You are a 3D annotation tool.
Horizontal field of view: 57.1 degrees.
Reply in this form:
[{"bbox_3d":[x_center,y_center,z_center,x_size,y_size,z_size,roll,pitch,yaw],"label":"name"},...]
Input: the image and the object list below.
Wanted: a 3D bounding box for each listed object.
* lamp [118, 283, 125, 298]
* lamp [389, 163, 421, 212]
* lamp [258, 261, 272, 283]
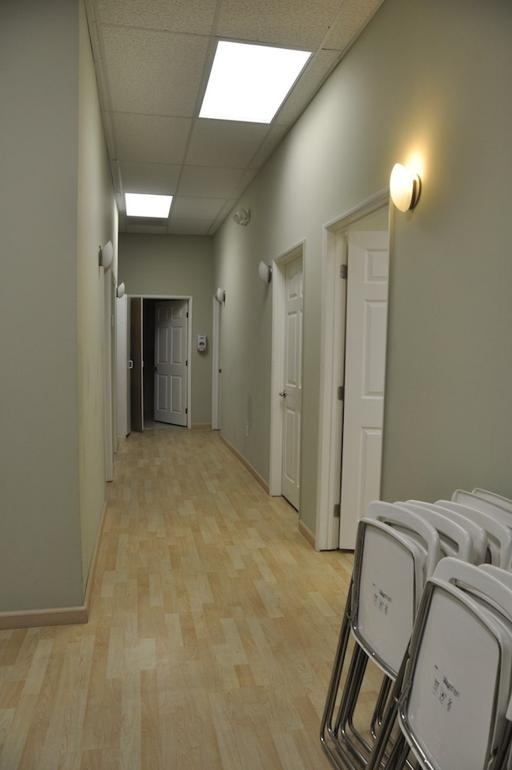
[{"bbox_3d":[-2.126,-1.451,7.198,0.104,0.249,0.411,0,0,-19],"label":"lamp"},{"bbox_3d":[0.653,-0.849,2.008,0.077,0.223,0.204,1,0,-1],"label":"lamp"},{"bbox_3d":[0.076,-1.114,4.688,0.153,0.254,0.127,0,3,-20],"label":"lamp"}]
